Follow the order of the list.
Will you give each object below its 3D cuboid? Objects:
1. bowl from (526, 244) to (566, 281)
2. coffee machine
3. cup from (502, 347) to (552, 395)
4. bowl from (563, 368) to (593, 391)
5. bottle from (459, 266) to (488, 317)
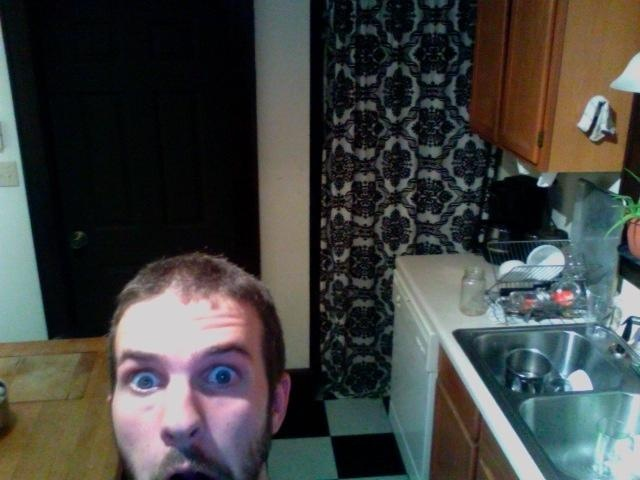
[{"bbox_3d":[0.941,0.116,2.136,0.152,0.157,0.100,-11,-19,35],"label":"bowl"},{"bbox_3d":[0.860,-0.118,2.489,0.463,0.479,0.277,-4,20,-7],"label":"coffee machine"},{"bbox_3d":[0.763,0.509,1.888,0.142,0.114,0.155,-2,28,1],"label":"cup"},{"bbox_3d":[0.954,0.514,1.898,0.096,0.047,0.115,-1,12,18],"label":"bowl"},{"bbox_3d":[0.653,0.226,2.189,0.118,0.203,0.118,-3,28,2],"label":"bottle"}]
